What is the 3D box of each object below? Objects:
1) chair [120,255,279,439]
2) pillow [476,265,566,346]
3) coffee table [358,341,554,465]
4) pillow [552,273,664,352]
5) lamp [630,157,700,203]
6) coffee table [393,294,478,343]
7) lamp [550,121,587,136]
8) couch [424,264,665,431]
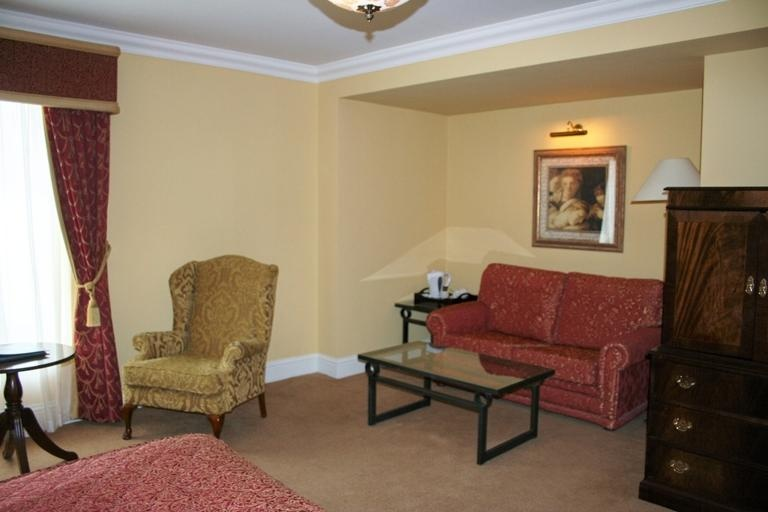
[{"bbox_3d":[-1.700,0.810,5.045,1.203,1.473,1.040,3,12,12],"label":"chair"},{"bbox_3d":[1.502,0.468,6.119,0.237,0.826,1.049,27,-1,-31],"label":"pillow"},{"bbox_3d":[0.668,1.256,4.964,1.529,0.694,0.848,8,14,34],"label":"coffee table"},{"bbox_3d":[2.184,0.538,5.446,0.761,0.754,0.285,-1,-13,33],"label":"pillow"},{"bbox_3d":[2.487,-0.669,4.828,0.551,0.286,0.500,4,-2,-28],"label":"lamp"},{"bbox_3d":[0.612,0.640,6.558,0.714,0.670,0.702,0,1,-35],"label":"coffee table"},{"bbox_3d":[2.010,-1.373,5.975,0.399,0.168,0.131,10,15,40],"label":"lamp"},{"bbox_3d":[1.672,0.819,5.723,1.102,1.186,2.268,-6,7,-42],"label":"couch"}]
